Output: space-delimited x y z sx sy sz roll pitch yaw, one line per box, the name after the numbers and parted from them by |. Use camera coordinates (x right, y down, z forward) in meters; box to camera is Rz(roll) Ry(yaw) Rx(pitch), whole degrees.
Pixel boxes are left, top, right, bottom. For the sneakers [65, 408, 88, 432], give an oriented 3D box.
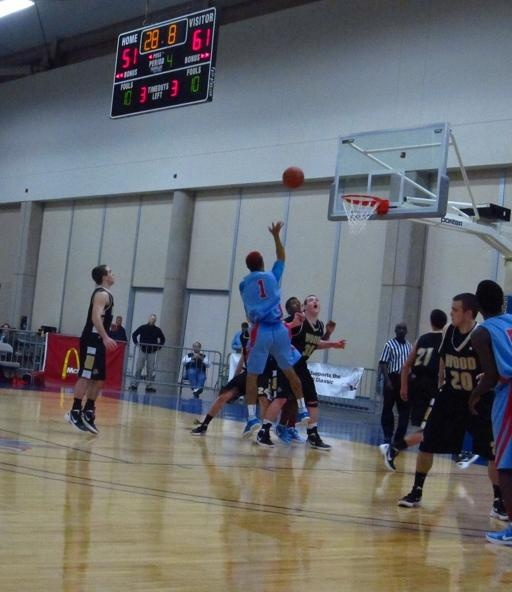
-1.825 1.266 5.475 0.233 0.173 0.185 5 -3 -15 | sneakers

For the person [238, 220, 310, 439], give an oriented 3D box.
0.155 0.352 5.561 0.530 2.142 0.635 1 -4 43 | person

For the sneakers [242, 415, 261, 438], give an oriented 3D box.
-0.041 1.366 5.594 0.114 0.147 0.337 10 -38 -20 | sneakers

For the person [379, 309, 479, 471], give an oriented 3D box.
1.844 0.980 5.650 1.158 1.863 0.607 -4 17 -14 | person

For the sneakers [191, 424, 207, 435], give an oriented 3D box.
-0.641 1.509 6.144 0.182 0.122 0.098 5 -5 6 | sneakers

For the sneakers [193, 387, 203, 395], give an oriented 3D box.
-1.328 2.158 12.309 0.155 0.160 0.113 6 1 29 | sneakers

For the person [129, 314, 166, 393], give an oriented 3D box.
-2.763 1.407 13.623 0.795 1.326 1.584 5 -3 -12 | person

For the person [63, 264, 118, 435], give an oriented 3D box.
-1.718 0.562 5.642 0.389 1.322 1.397 5 -3 -19 | person
